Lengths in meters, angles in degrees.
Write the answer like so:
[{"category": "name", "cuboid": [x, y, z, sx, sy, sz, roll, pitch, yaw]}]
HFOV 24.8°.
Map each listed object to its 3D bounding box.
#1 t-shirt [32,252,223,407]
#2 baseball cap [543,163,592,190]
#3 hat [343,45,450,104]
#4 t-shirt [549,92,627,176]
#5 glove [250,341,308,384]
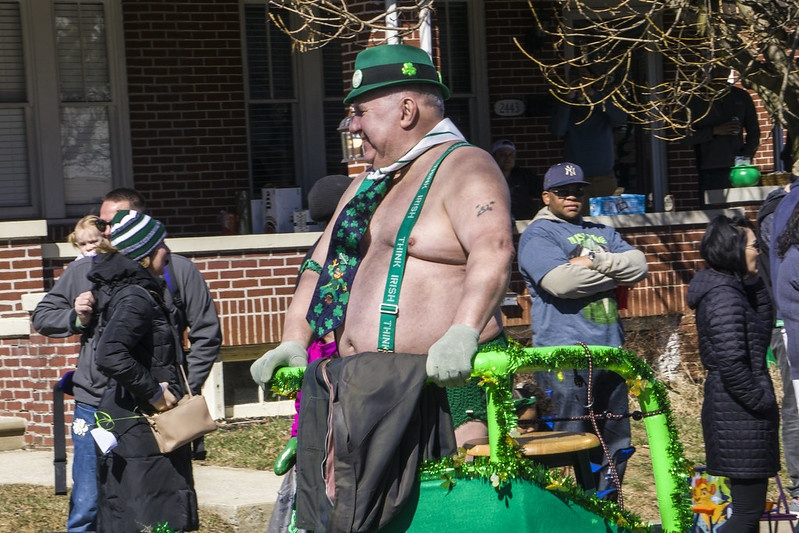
[{"category": "t-shirt", "cuboid": [-2.463, 0.581, 16.890, 2.114, 1.355, 1.113, 2, 13, 24]}, {"category": "baseball cap", "cuboid": [1.554, -0.849, 17.203, 0.297, 0.153, 0.360, -1, -2, -27]}, {"category": "hat", "cuboid": [-0.048, -1.563, 14.800, 0.697, 0.253, 0.521, -1, 1, -3]}, {"category": "t-shirt", "cuboid": [2.249, -1.650, 21.780, 0.939, 0.951, 0.604, 2, -13, -3]}, {"category": "glove", "cuboid": [-0.992, 0.770, 14.742, 0.464, 0.136, 0.333, -22, -6, 4]}]
